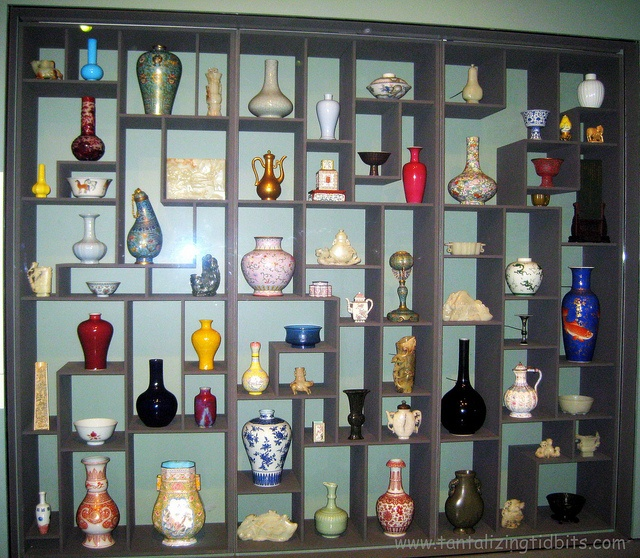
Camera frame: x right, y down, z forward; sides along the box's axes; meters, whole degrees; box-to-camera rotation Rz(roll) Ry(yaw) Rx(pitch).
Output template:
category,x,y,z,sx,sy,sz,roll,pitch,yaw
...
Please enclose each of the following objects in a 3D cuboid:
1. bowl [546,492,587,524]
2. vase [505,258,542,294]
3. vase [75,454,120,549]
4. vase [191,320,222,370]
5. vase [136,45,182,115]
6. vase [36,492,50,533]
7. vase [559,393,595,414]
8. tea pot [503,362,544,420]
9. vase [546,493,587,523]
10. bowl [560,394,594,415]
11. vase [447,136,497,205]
category,x,y,z,sx,sy,sz,roll,pitch,yaw
bowl,1.524,1.403,5.123,0.166,0.176,0.116,0,-88,2
vase,1.237,0.007,5.118,0.214,0.208,0.259,0,-96,2
vase,-1.281,1.259,4.813,0.232,0.450,0.396,5,-54,-16
vase,-0.656,0.392,4.844,0.221,0.240,0.391,0,-94,-5
vase,-0.939,-1.149,4.846,0.254,0.317,0.320,-2,-53,-11
vase,-1.594,1.344,4.774,0.079,0.160,0.180,5,-54,-15
vase,1.592,0.777,5.157,0.127,0.133,0.065,0,-91,-7
tea pot,1.237,0.693,5.195,0.279,0.251,0.435,0,-91,-5
vase,1.527,1.405,5.121,0.166,0.176,0.115,0,-89,2
bowl,1.590,0.780,5.154,0.127,0.134,0.065,0,-91,-7
vase,0.970,-0.664,5.246,0.344,0.365,0.516,0,-92,8
